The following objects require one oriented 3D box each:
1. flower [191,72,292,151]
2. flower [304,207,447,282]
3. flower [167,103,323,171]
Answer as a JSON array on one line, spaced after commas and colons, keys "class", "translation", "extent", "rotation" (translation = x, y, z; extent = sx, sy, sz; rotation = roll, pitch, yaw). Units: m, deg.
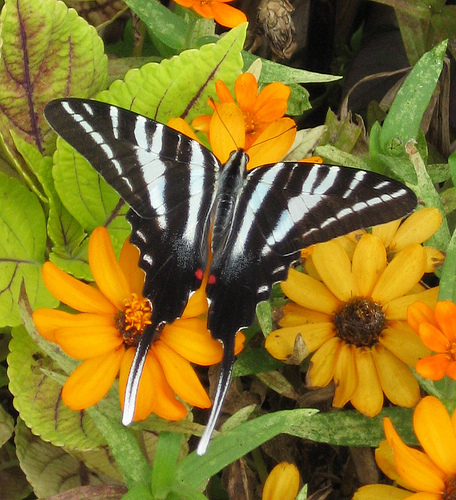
[{"class": "flower", "translation": [0.024, -0.203, 0.940], "extent": [0.139, 0.121, 0.037], "rotation": [23, 5, -15]}, {"class": "flower", "translation": [0.231, 0.012, 0.959], "extent": [0.230, 0.098, 0.055], "rotation": [-6, -10, -11]}, {"class": "flower", "translation": [0.038, -0.175, 0.910], "extent": [0.174, 0.101, 0.042], "rotation": [19, 14, -17]}]
